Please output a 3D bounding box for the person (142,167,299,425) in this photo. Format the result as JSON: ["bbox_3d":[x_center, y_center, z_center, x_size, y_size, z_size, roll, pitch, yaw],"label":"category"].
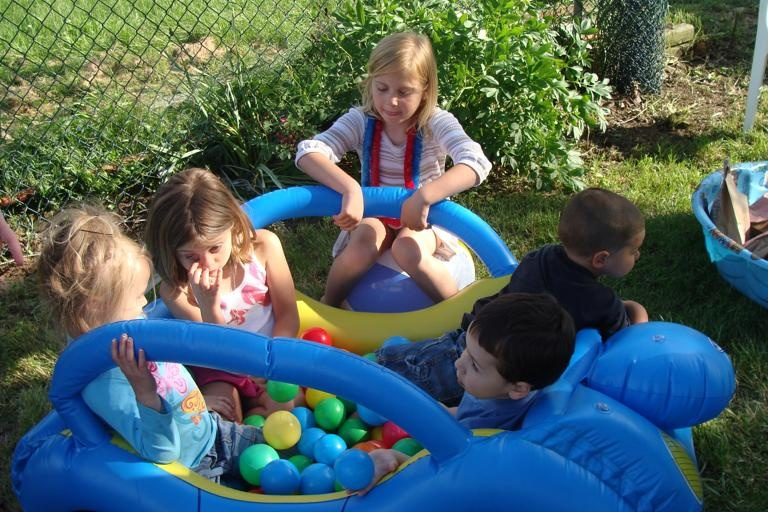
[{"bbox_3d":[-0.717,0.210,2.900,0.520,0.998,0.827,-29,61,-18],"label":"person"}]

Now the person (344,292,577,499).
[{"bbox_3d":[0.300,0.597,2.814,0.786,1.024,0.411,2,38,0],"label":"person"}]

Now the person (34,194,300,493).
[{"bbox_3d":[-0.811,0.186,2.935,1.005,1.292,0.726,-9,25,-12],"label":"person"}]
